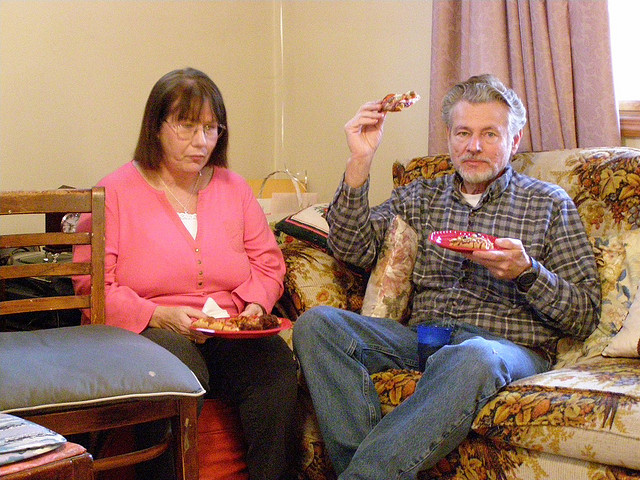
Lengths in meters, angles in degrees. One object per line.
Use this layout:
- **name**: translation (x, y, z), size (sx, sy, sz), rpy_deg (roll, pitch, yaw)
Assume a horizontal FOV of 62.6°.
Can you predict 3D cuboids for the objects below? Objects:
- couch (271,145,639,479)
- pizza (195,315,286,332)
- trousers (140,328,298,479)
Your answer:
- **couch**: translation (0.468, 0.252, 1.756), size (1.145, 0.856, 0.644), rpy_deg (-4, -6, 30)
- **pizza**: translation (-0.248, 0.250, 1.603), size (0.273, 0.038, 0.083), rpy_deg (-2, 2, -3)
- **trousers**: translation (-0.314, 0.535, 1.918), size (0.453, 0.608, 0.538), rpy_deg (-1, -13, -12)
